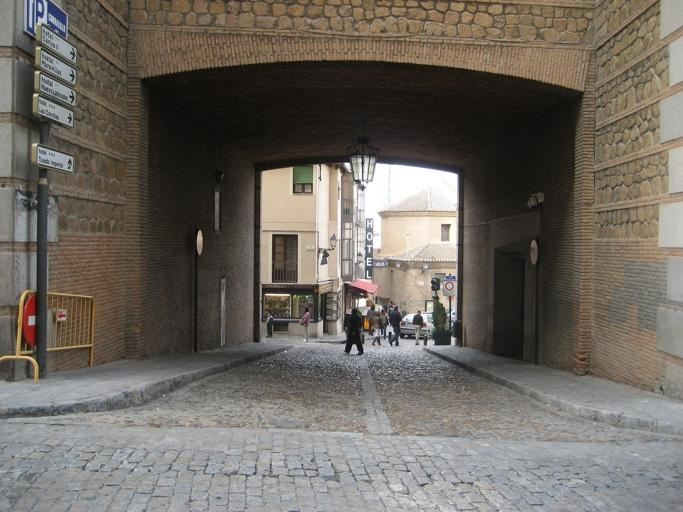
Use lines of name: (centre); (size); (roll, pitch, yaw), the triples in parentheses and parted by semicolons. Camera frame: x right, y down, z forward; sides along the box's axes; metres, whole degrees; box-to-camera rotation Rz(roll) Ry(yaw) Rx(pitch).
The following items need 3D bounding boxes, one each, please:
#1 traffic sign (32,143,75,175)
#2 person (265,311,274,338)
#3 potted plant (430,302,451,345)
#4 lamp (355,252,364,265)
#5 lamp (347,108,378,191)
traffic sign: (-4.267, -1.430, 8.129); (0.150, 0.361, 0.838); (2, -6, 10)
person: (-4.649, 4.406, 35.567); (0.478, 1.415, 1.506); (3, -5, -8)
potted plant: (4.505, 2.981, 24.883); (0.837, 1.921, 1.377); (2, -5, 9)
lamp: (1.884, 0.176, 56.007); (0.922, 1.507, 1.012); (1, -5, -7)
lamp: (0.558, -2.637, 14.293); (0.617, 1.768, 0.605); (4, -5, -32)
